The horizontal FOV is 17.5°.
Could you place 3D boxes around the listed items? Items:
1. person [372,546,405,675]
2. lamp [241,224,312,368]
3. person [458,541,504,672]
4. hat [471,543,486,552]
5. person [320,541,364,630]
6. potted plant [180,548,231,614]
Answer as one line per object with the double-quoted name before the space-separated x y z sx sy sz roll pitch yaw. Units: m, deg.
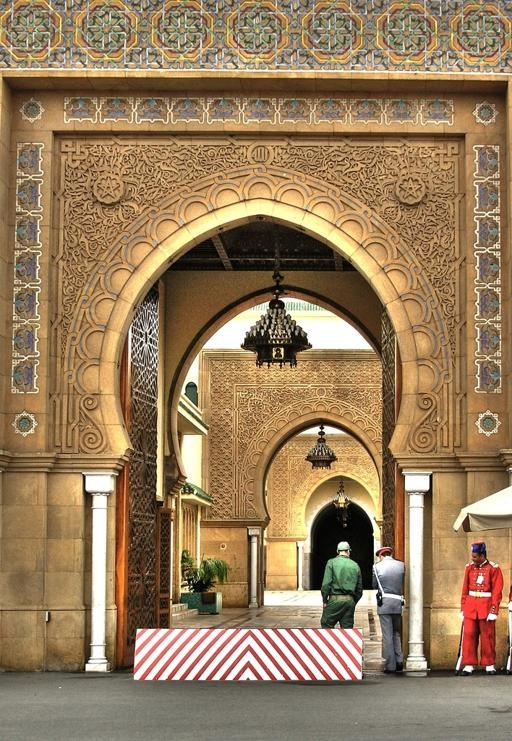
"person" 1.194 2.135 14.816 0.288 1.146 0.532 -3 -11 4
"lamp" 0.203 -0.823 19.478 0.802 1.367 2.125 -2 -11 0
"person" 1.904 2.057 14.311 0.403 1.116 0.363 -3 -11 6
"hat" 1.912 1.528 14.343 0.106 0.106 0.078 3 -7 18
"person" 0.757 1.950 15.086 0.374 0.792 0.607 -3 -11 2
"potted plant" -0.830 3.294 25.686 0.833 1.007 0.852 0 -6 5
